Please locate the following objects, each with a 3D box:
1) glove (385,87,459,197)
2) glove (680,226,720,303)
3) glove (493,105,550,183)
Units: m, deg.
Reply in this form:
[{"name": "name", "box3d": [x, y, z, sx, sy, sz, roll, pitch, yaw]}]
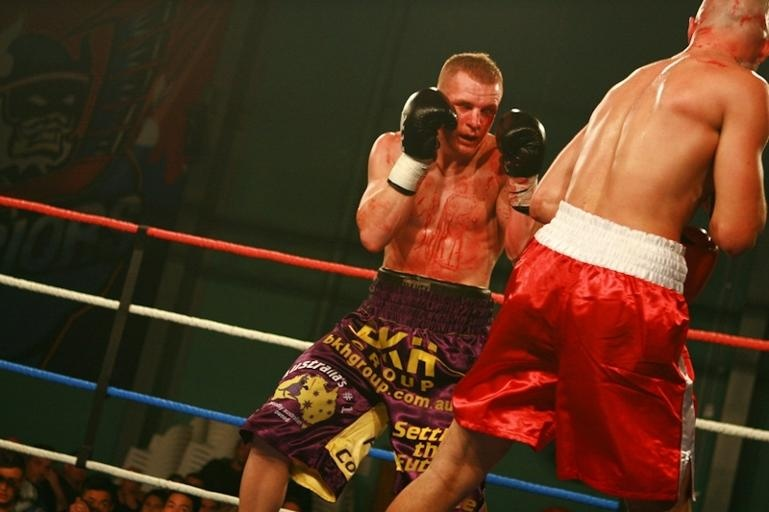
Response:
[{"name": "glove", "box3d": [0.165, -0.489, 3.370, 0.324, 0.442, 0.180, 10, 1, -6]}, {"name": "glove", "box3d": [1.215, 0.063, 2.999, 0.098, 0.299, 0.414, 10, -16, 30]}, {"name": "glove", "box3d": [0.558, -0.459, 3.405, 0.207, 0.285, 0.272, -14, -7, -1]}]
